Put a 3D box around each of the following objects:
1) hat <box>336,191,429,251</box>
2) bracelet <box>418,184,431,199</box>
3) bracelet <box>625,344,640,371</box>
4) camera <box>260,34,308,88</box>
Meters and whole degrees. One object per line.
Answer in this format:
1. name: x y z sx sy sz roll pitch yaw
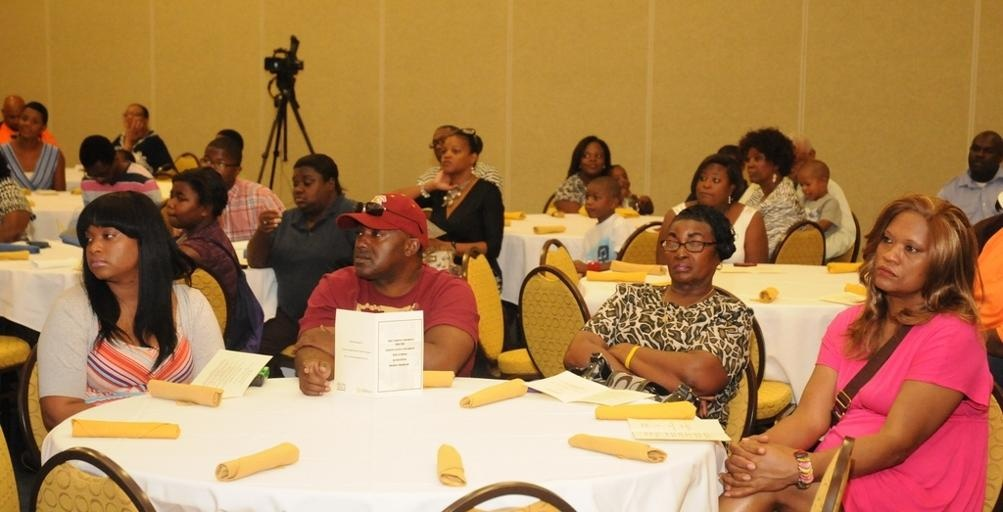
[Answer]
1. hat: -0.772 -0.260 5.203 0.504 0.228 0.358 20 -7 -22
2. bracelet: -0.749 -0.646 7.694 0.044 0.114 0.093 -22 -21 -3
3. bracelet: 0.862 0.667 5.201 0.032 0.123 0.131 22 -26 -6
4. camera: -3.014 -2.722 10.959 0.426 0.709 0.540 5 19 -1
